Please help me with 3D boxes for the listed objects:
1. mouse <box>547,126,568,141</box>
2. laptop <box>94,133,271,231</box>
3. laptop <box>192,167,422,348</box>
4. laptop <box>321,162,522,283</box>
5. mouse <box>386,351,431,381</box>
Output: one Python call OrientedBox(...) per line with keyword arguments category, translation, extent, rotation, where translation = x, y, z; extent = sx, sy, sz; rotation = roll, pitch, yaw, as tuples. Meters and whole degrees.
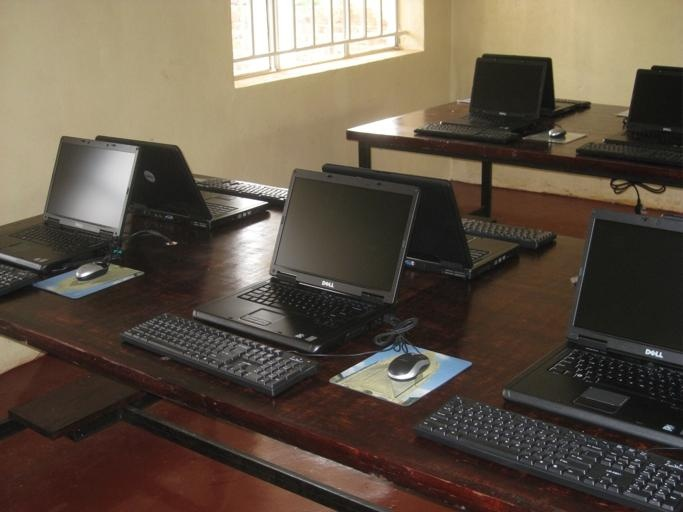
OrientedBox(category="mouse", translation=(1.233, -0.708, 3.071), extent=(0.112, 0.041, 0.144), rotation=(15, 32, 31))
OrientedBox(category="laptop", translation=(-0.635, -0.291, 2.216), extent=(0.565, 0.297, 0.498), rotation=(15, 23, 30))
OrientedBox(category="laptop", translation=(-0.051, 0.002, 1.553), extent=(0.589, 0.362, 0.566), rotation=(17, 27, 37))
OrientedBox(category="laptop", translation=(0.261, -0.116, 1.755), extent=(0.514, 0.296, 0.472), rotation=(17, 30, 39))
OrientedBox(category="mouse", translation=(0.156, 0.252, 1.236), extent=(0.060, 0.041, 0.113), rotation=(16, 26, 40))
